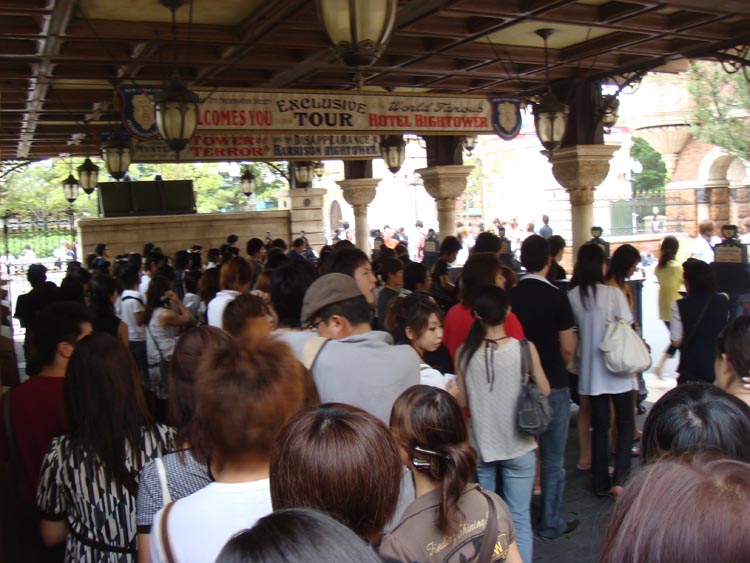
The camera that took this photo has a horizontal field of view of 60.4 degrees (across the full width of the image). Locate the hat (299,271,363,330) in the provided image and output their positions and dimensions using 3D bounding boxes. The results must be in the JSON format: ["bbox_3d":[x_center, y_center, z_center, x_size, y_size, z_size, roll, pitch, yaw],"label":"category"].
[{"bbox_3d":[-0.223,0.096,3.280,0.300,0.161,0.217,-27,-3,21],"label":"hat"}]

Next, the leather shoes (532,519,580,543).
[{"bbox_3d":[1.365,1.848,4.859,0.376,0.149,0.121,-10,15,-26],"label":"leather shoes"}]

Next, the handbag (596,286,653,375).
[{"bbox_3d":[2.004,0.451,5.193,0.376,0.654,0.294,13,-20,-23],"label":"handbag"}]

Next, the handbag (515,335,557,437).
[{"bbox_3d":[1.020,0.688,4.168,0.204,0.608,0.243,0,2,27],"label":"handbag"}]

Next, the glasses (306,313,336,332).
[{"bbox_3d":[-0.263,0.203,3.220,0.079,0.079,0.106,0,-12,-6],"label":"glasses"}]
